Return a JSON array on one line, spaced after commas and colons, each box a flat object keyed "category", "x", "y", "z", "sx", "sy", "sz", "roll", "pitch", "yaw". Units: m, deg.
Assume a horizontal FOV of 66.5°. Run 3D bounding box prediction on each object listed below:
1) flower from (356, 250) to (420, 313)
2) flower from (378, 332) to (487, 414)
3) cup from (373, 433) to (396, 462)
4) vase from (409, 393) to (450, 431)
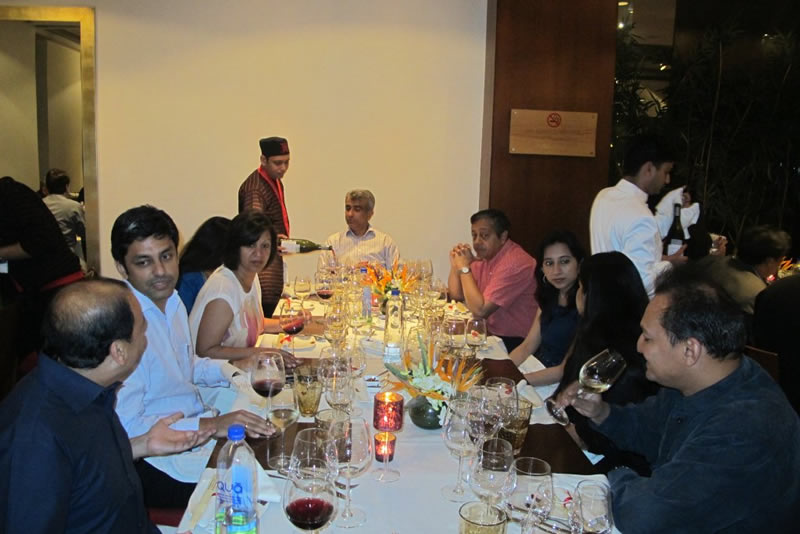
[{"category": "flower", "x": -0.056, "y": 0.097, "z": 4.170, "sx": 0.353, "sy": 0.339, "sz": 0.346, "roll": -4, "pitch": -4, "yaw": 38}, {"category": "flower", "x": 0.130, "y": 0.501, "z": 2.914, "sx": 0.367, "sy": 0.280, "sz": 0.350, "roll": 2, "pitch": -4, "yaw": 22}, {"category": "cup", "x": -0.066, "y": 0.750, "z": 2.547, "sx": 0.098, "sy": 0.121, "sz": 0.107, "roll": 1, "pitch": 3, "yaw": 0}, {"category": "vase", "x": 0.122, "y": 0.660, "z": 2.762, "sx": 0.169, "sy": 0.157, "sz": 0.147, "roll": 18, "pitch": 22, "yaw": -11}]
